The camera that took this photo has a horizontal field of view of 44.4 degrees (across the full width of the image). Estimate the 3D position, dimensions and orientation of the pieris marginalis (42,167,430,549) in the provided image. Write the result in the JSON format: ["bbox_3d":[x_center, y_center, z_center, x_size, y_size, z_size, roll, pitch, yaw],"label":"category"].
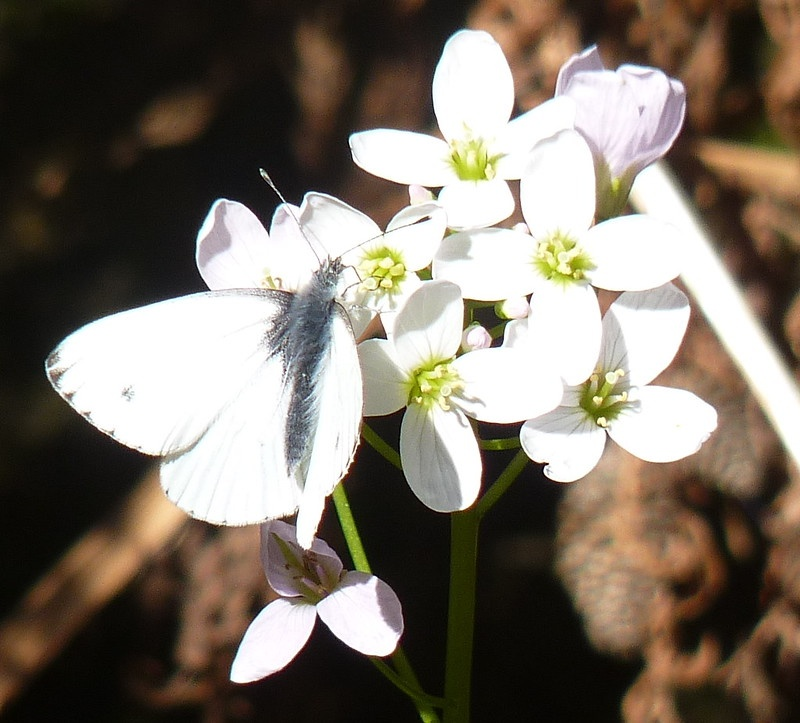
[{"bbox_3d":[-0.223,0.032,1.173,0.408,0.221,0.464,30,58,-7],"label":"pieris marginalis"}]
